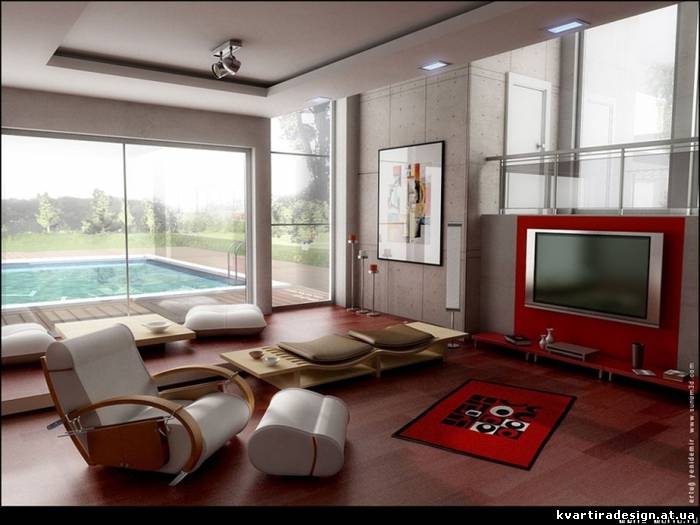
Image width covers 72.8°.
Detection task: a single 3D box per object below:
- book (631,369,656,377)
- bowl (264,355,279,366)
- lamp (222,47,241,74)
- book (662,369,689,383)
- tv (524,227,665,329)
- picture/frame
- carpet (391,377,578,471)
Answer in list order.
[{"bbox_3d":[3.326,1.249,5.369,0.226,0.033,0.177,3,11,12],"label":"book"},{"bbox_3d":[-0.826,1.075,5.181,0.151,0.099,0.124,5,13,22],"label":"bowl"},{"bbox_3d":[-1.368,-2.294,5.431,0.192,0.247,0.476,-3,12,-14],"label":"lamp"},{"bbox_3d":[3.620,1.245,5.273,0.227,0.066,0.290,8,14,35],"label":"book"},{"bbox_3d":[3.107,0.183,5.926,0.101,0.883,1.403,-4,7,-36],"label":"tv"},{"bbox_3d":[1.053,-1.008,8.138,0.310,2.028,1.516,-7,14,-29],"label":"picture/frame"},{"bbox_3d":[1.381,1.534,4.704,1.186,0.046,1.721,8,14,36],"label":"carpet"}]
